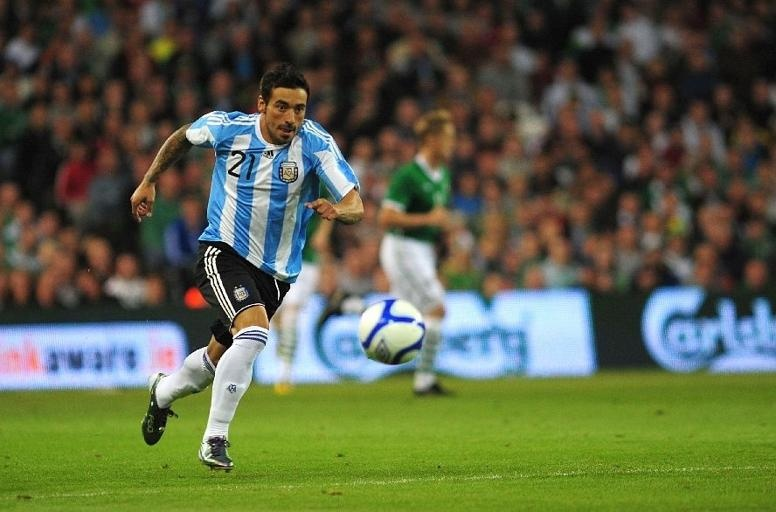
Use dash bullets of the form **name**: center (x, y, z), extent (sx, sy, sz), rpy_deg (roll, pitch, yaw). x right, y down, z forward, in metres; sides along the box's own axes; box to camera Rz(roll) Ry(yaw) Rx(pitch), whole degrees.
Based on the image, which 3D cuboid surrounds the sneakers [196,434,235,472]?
- **sneakers**: center (-1.580, 1.809, 8.941), extent (0.179, 0.224, 0.452), rpy_deg (2, -6, -29)

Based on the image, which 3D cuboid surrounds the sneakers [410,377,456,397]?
- **sneakers**: center (0.678, 1.906, 13.756), extent (0.210, 0.262, 0.627), rpy_deg (-6, -20, 27)

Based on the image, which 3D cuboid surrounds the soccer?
- **soccer**: center (0.024, 0.782, 9.965), extent (0.629, 0.627, 0.603), rpy_deg (-1, -5, -10)
